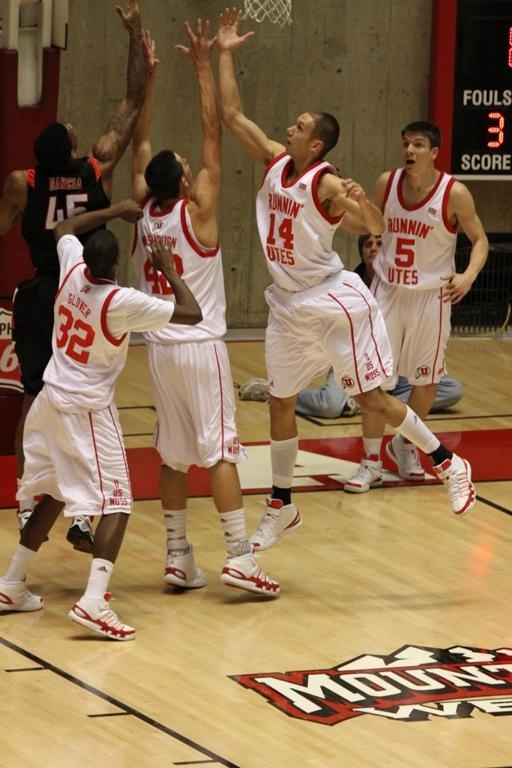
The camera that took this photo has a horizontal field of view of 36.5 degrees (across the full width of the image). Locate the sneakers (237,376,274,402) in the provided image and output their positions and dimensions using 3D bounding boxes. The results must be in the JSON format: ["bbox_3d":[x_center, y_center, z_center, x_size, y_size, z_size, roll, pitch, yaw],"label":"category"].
[{"bbox_3d":[-0.025,0.051,5.958,0.233,0.135,0.144,-2,4,4],"label":"sneakers"}]

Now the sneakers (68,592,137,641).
[{"bbox_3d":[-0.448,0.679,2.277,0.180,0.154,0.173,2,3,-8],"label":"sneakers"}]

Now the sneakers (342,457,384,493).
[{"bbox_3d":[0.593,0.484,4.076,0.108,0.150,0.277,1,2,37],"label":"sneakers"}]

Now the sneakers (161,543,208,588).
[{"bbox_3d":[-0.290,0.676,2.819,0.087,0.146,0.223,2,-3,22],"label":"sneakers"}]

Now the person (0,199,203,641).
[{"bbox_3d":[-0.515,0.141,2.359,0.573,1.228,0.327,4,3,32],"label":"person"}]
